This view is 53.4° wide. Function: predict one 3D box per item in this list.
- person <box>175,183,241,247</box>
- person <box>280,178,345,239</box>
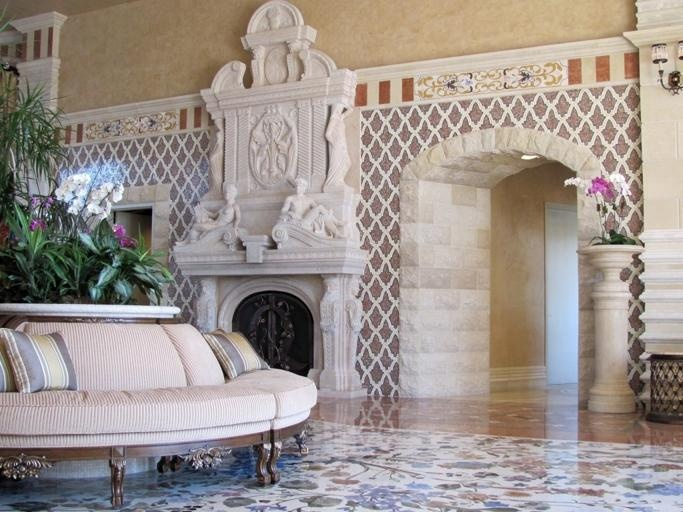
[{"bbox_3d":[-1.622,-0.528,8.886,0.888,0.885,0.406,-3,-4,25],"label":"person"},{"bbox_3d":[-0.355,-0.592,8.299,0.696,0.765,0.392,-3,-4,32],"label":"person"}]
